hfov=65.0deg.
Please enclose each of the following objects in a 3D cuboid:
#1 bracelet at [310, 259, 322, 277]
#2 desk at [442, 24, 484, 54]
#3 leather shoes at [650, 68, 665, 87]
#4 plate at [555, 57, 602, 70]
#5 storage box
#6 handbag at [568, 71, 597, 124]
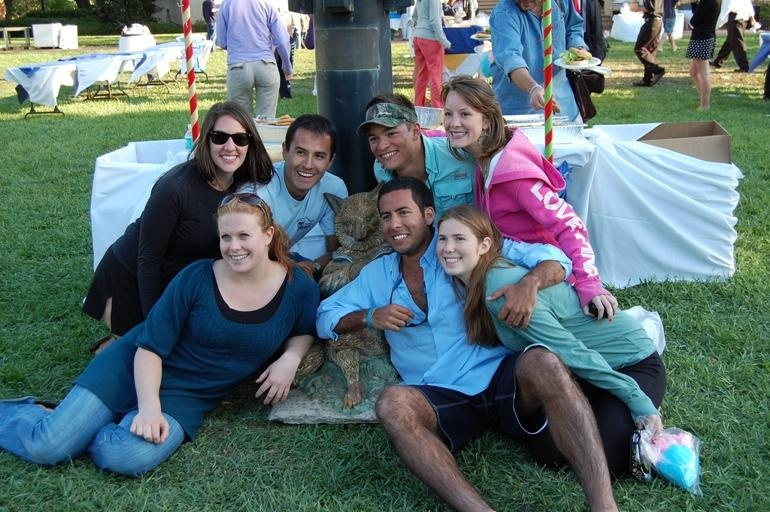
[{"bbox_3d":[-0.511,0.092,4.605,0.030,0.105,0.099,-3,9,10],"label":"bracelet"},{"bbox_3d":[1.532,-4.271,11.845,0.723,0.415,0.789,1,40,1],"label":"desk"},{"bbox_3d":[6.051,-4.061,13.395,0.212,0.301,0.666,-6,35,39],"label":"leather shoes"},{"bbox_3d":[1.770,-1.781,5.584,0.402,0.114,0.402,7,19,15],"label":"plate"},{"bbox_3d":[2.992,-1.148,5.996,0.761,0.311,0.636,6,32,19],"label":"storage box"},{"bbox_3d":[1.981,-1.623,6.104,0.168,0.441,0.412,-20,47,21],"label":"handbag"}]
